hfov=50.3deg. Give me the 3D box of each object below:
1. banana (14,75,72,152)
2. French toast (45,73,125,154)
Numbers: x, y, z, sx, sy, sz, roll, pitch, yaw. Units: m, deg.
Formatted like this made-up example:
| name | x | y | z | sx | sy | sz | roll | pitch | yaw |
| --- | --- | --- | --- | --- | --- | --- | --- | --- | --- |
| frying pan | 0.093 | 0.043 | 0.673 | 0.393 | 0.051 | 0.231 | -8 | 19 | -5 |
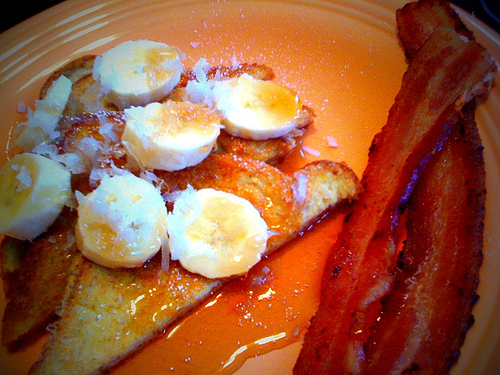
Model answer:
| name | x | y | z | sx | sy | sz | roll | pitch | yaw |
| --- | --- | --- | --- | --- | --- | --- | --- | --- | --- |
| banana | -1.084 | -0.383 | 2.858 | 0.231 | 0.136 | 0.463 | 29 | 66 | -36 |
| French toast | -0.893 | -0.368 | 2.847 | 0.381 | 0.095 | 0.417 | 8 | 78 | -14 |
